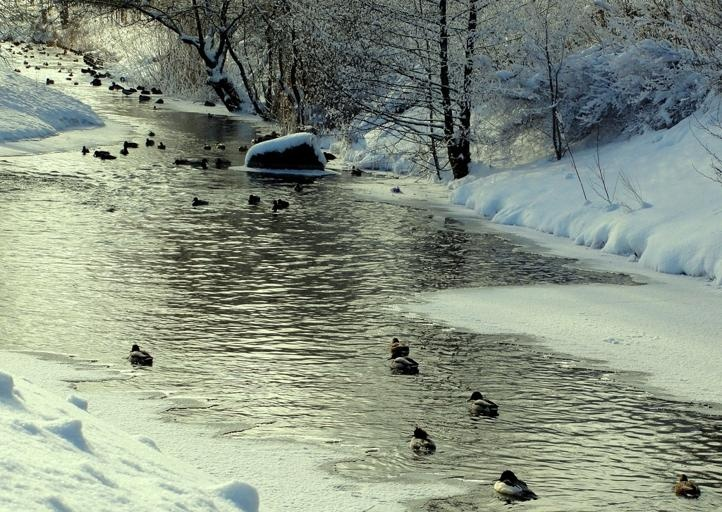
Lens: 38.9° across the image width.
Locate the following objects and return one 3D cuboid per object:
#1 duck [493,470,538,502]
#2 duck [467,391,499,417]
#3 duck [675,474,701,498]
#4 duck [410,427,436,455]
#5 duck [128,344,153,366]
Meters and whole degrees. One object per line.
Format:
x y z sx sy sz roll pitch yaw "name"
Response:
1.713 2.702 11.905 0.729 0.218 0.217 10 -5 38 "duck"
1.566 1.958 13.331 0.222 0.160 0.514 1 7 -24 "duck"
3.821 2.712 12.013 0.304 0.235 0.318 2 5 14 "duck"
0.761 2.288 12.623 0.294 0.202 0.354 -7 22 -18 "duck"
-3.058 1.394 14.206 0.255 0.210 0.402 -6 13 -39 "duck"
